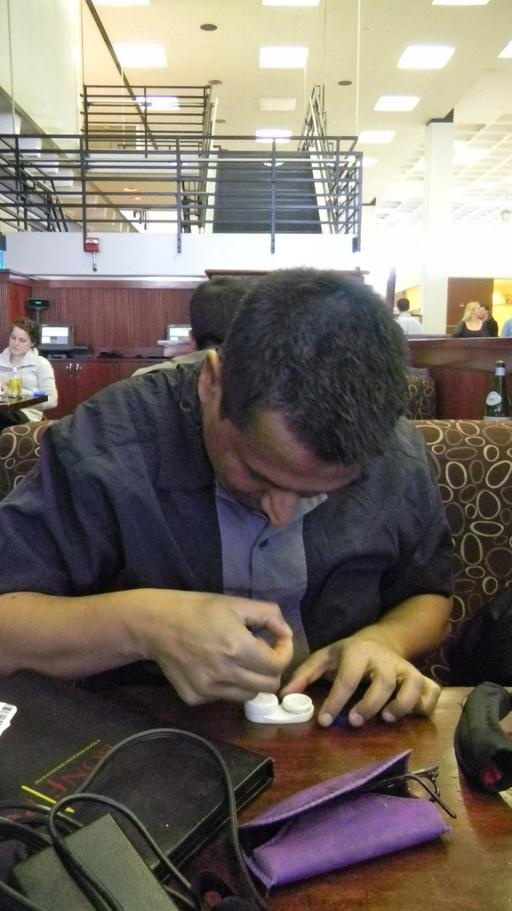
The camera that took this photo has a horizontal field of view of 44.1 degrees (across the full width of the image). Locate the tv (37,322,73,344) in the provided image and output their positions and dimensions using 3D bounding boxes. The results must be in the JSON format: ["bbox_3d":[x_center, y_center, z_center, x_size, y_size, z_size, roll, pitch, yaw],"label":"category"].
[{"bbox_3d":[-2.370,-1.415,7.407,0.253,0.207,0.262,0,2,0],"label":"tv"}]

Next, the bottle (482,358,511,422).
[{"bbox_3d":[0.820,-0.225,2.134,0.069,0.187,0.172,3,10,16],"label":"bottle"}]
